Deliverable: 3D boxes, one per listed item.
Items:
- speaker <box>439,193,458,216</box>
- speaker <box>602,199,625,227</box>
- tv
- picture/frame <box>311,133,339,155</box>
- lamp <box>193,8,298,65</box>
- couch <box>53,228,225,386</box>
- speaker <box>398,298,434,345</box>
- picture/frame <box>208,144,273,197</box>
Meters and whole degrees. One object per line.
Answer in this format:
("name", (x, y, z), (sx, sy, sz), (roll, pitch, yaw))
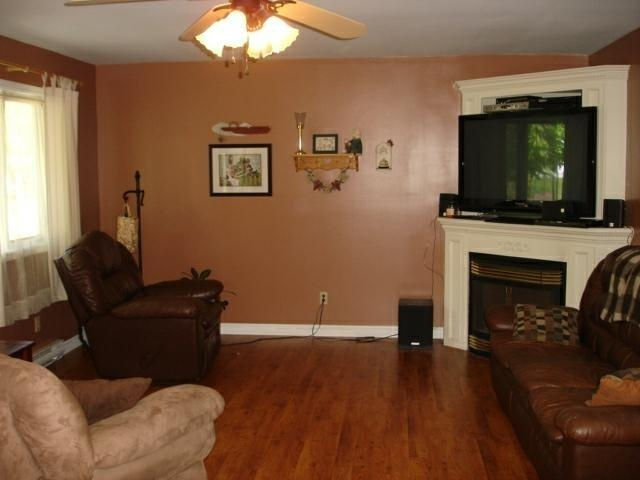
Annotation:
("speaker", (1.259, -0.341, 5.313), (0.179, 0.212, 0.219), (3, 12, 18))
("speaker", (2.443, -0.222, 4.470), (0.202, 0.218, 0.162), (1, 12, 8))
("tv", (1.907, -0.673, 4.845), (1.013, 0.923, 0.112), (2, 8, 31))
("picture/frame", (0.059, -0.983, 5.509), (0.214, 0.178, 0.023), (0, 1, 2))
("lamp", (-0.438, -1.120, 3.045), (0.321, 0.104, 0.326), (-2, -5, -28))
("couch", (-1.506, 0.565, 4.933), (1.250, 1.320, 1.257), (1, 2, -3))
("speaker", (0.934, 0.849, 5.381), (0.351, 0.428, 0.305), (0, 2, 6))
("picture/frame", (-0.806, -0.744, 5.616), (0.508, 0.466, 0.043), (0, 1, 2))
